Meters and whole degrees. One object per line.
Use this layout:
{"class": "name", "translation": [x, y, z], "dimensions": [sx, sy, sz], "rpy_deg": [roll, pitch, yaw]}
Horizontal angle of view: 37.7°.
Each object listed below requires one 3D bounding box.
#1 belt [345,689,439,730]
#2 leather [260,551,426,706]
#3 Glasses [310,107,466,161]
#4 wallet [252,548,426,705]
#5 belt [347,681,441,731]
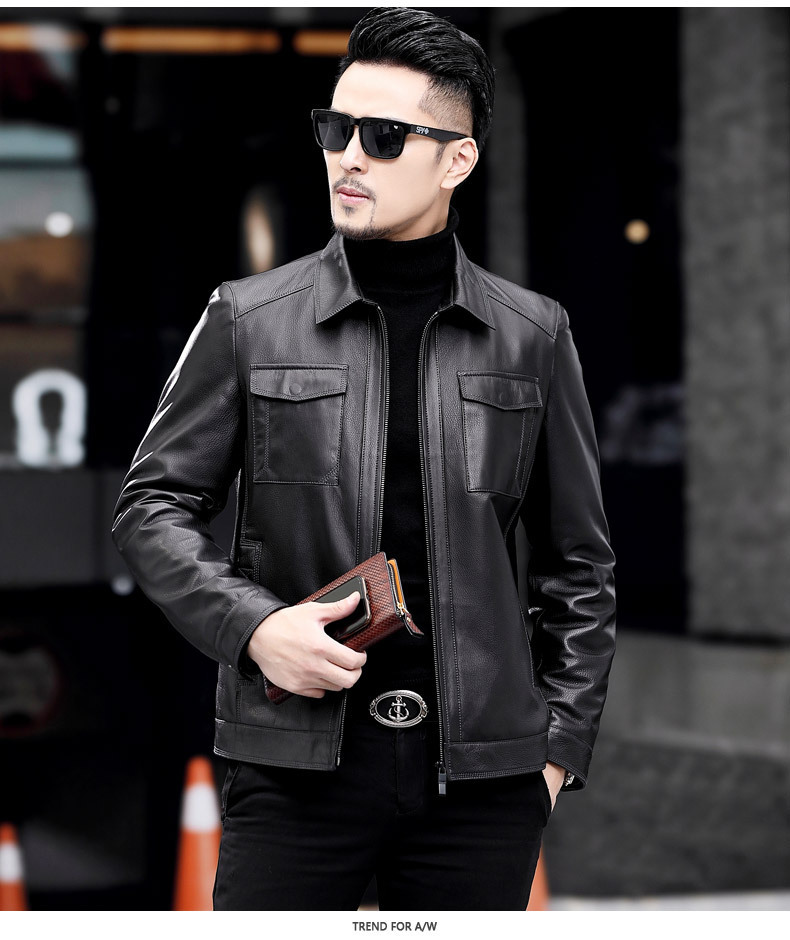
{"class": "belt", "translation": [-0.014, 0.489, 2.351], "dimensions": [0.121, 0.071, 0.017], "rpy_deg": [0, 1, 3]}
{"class": "leather", "translation": [-0.078, 0.286, 2.238], "dimensions": [0.356, 0.196, 0.103], "rpy_deg": [-28, 37, -5]}
{"class": "Glasses", "translation": [-0.016, -0.724, 2.552], "dimensions": [0.187, 0.052, 0.186], "rpy_deg": [12, 7, 42]}
{"class": "wallet", "translation": [-0.086, 0.280, 2.173], "dimensions": [0.362, 0.195, 0.093], "rpy_deg": [-29, 0, 10]}
{"class": "belt", "translation": [-0.009, 0.483, 2.352], "dimensions": [0.168, 0.089, 0.022], "rpy_deg": [1, 2, 3]}
